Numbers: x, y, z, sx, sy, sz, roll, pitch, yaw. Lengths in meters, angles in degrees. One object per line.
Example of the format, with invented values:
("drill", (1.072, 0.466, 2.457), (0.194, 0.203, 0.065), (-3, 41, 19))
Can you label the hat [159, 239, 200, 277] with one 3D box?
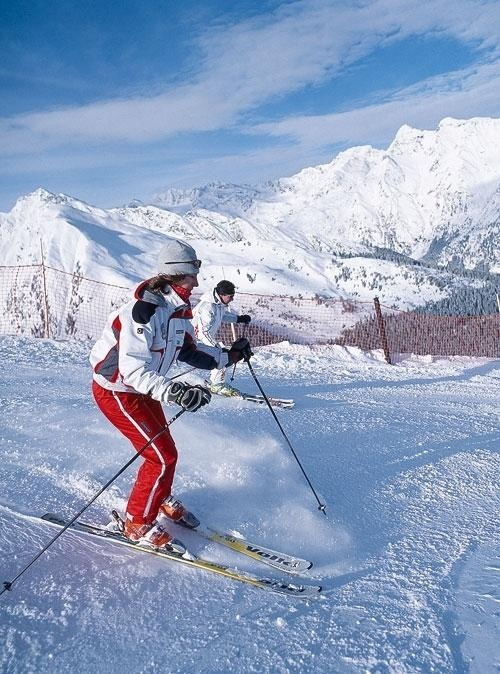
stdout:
("hat", (-0.437, -0.503, 3.793), (0.270, 0.213, 0.232), (7, 26, 9))

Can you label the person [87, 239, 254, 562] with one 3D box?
("person", (-0.568, 0.348, 3.953), (0.789, 1.969, 1.046), (8, 7, 12))

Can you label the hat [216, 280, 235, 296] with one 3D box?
("hat", (-0.288, -0.669, 7.691), (0.241, 0.208, 0.182), (-21, 41, -24))

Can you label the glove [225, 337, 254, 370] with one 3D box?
("glove", (-0.080, 0.121, 4.738), (0.113, 0.128, 0.344), (10, 34, 20))

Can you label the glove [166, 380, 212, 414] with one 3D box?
("glove", (-0.387, 0.373, 3.588), (0.246, 0.107, 0.178), (17, 42, -6))

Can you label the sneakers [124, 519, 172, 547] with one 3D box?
("sneakers", (-0.634, 1.257, 3.781), (0.365, 0.144, 0.119), (12, 30, -6))
